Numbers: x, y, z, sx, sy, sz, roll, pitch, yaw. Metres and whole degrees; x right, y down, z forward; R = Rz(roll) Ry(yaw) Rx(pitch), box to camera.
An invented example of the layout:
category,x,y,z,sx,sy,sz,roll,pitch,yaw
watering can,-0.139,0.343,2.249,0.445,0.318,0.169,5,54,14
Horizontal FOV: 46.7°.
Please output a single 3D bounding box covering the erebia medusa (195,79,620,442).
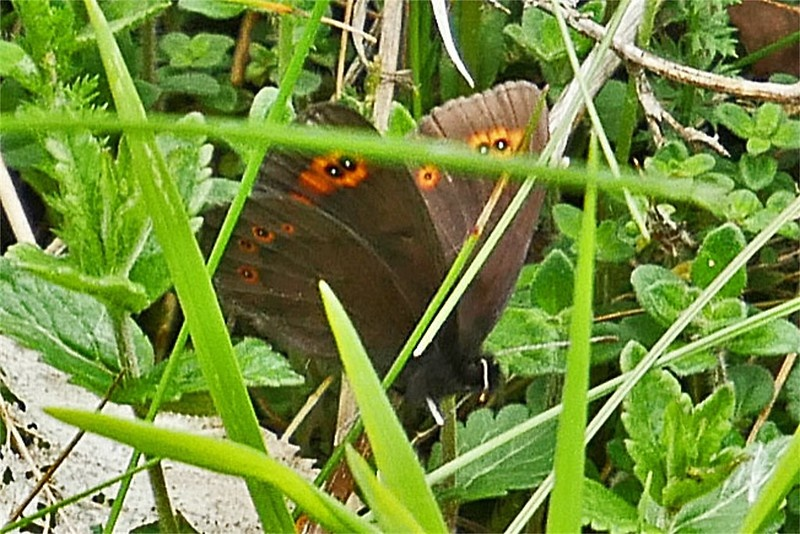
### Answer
category,x,y,z,sx,sy,sz,roll,pitch,yaw
erebia medusa,-0.027,-0.102,1.785,0.748,0.557,0.527,21,59,-16
